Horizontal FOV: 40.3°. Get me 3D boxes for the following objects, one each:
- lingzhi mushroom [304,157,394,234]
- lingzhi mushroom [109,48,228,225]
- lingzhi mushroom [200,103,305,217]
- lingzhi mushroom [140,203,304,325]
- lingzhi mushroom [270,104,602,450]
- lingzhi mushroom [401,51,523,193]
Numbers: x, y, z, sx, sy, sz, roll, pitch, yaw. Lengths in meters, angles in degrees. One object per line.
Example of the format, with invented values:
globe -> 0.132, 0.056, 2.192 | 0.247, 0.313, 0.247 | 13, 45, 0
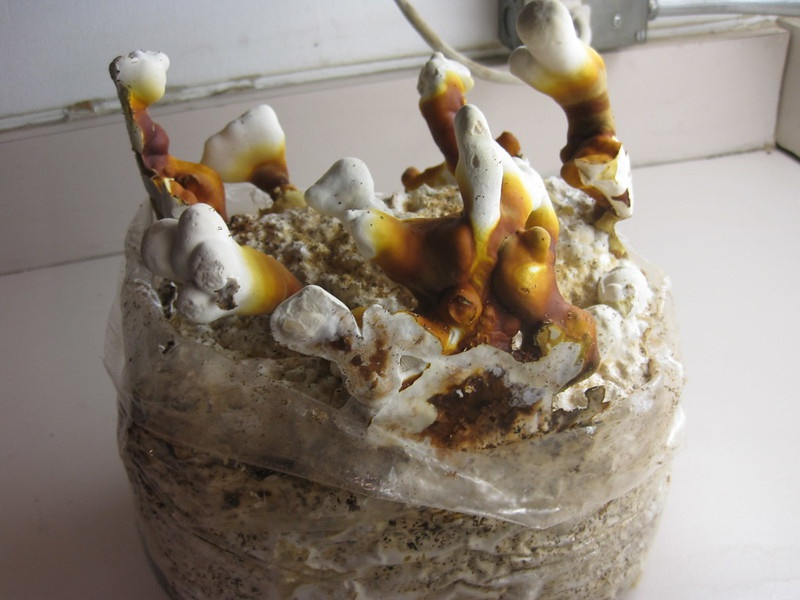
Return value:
lingzhi mushroom -> -0.082, -0.171, 1.534 | 0.107, 0.139, 0.057 | -12, 22, -12
lingzhi mushroom -> -0.331, -0.227, 1.598 | 0.120, 0.259, 0.140 | -18, 34, -18
lingzhi mushroom -> -0.275, -0.217, 1.785 | 0.157, 0.136, 0.229 | -29, -1, -13
lingzhi mushroom -> -0.249, -0.040, 1.513 | 0.087, 0.138, 0.209 | -26, -19, 26
lingzhi mushroom -> 0.067, -0.002, 1.633 | 0.468, 0.397, 0.204 | -18, 7, -1
lingzhi mushroom -> 0.085, -0.274, 1.642 | 0.188, 0.201, 0.085 | 18, 62, 25
